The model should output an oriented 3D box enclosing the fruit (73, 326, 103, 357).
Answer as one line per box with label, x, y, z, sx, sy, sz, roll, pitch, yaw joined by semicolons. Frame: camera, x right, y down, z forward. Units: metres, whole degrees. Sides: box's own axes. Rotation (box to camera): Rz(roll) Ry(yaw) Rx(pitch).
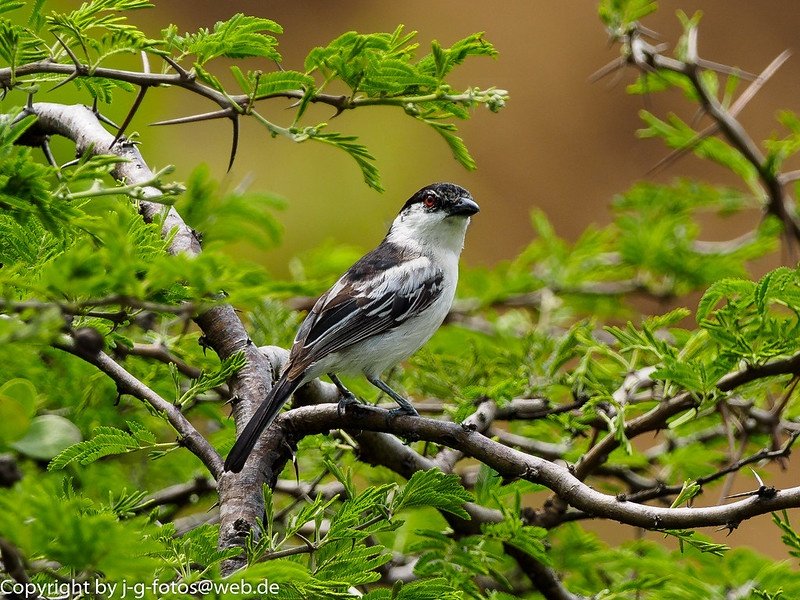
fruit;-1.307;0.180;4.095;0.110;0.113;0.146;2;-6;1
